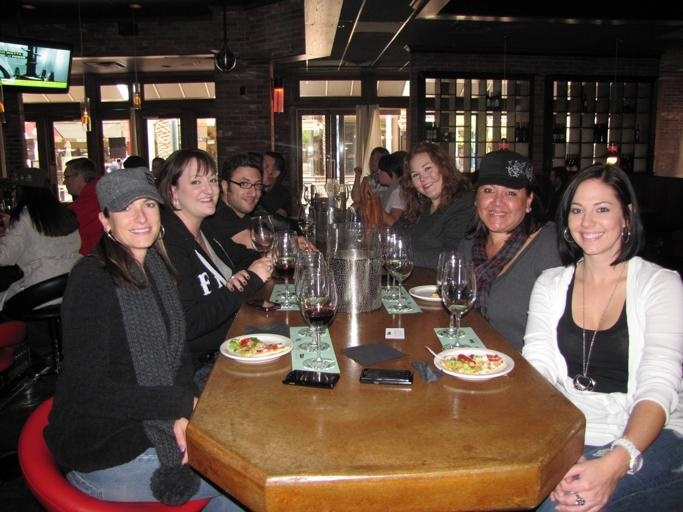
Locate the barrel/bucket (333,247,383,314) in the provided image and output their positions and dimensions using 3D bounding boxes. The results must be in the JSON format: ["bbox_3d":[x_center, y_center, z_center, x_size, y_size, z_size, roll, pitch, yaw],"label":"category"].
[{"bbox_3d":[0.057,0.095,2.161,0.239,0.257,0.243,-2,8,0],"label":"barrel/bucket"}]

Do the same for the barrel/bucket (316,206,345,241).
[{"bbox_3d":[-0.079,-0.188,3.188,0.225,0.240,0.219,1,2,0],"label":"barrel/bucket"}]

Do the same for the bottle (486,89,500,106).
[{"bbox_3d":[2.472,-2.533,8.589,0.247,0.271,0.047,-3,11,-14],"label":"bottle"}]

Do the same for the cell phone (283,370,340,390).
[{"bbox_3d":[-0.091,0.377,1.600,0.201,0.019,0.116,-2,5,24],"label":"cell phone"}]

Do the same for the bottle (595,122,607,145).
[{"bbox_3d":[4.374,-2.069,8.924,0.234,0.332,0.051,-3,11,-10],"label":"bottle"}]

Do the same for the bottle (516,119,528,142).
[{"bbox_3d":[2.965,-2.032,8.661,0.214,0.344,0.077,3,12,17],"label":"bottle"}]

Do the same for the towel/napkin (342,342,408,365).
[{"bbox_3d":[0.111,0.329,1.764,0.182,0.013,0.135,-11,11,-38],"label":"towel/napkin"}]

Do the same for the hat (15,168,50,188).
[{"bbox_3d":[-2.242,-0.561,3.818,0.192,0.106,0.141,-2,8,-26],"label":"hat"}]

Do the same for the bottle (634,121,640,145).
[{"bbox_3d":[5.030,-2.079,8.991,0.112,0.322,0.027,-2,11,-7],"label":"bottle"}]

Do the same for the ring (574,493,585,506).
[{"bbox_3d":[0.713,0.728,1.579,0.026,0.033,0.012,-21,-26,2],"label":"ring"}]

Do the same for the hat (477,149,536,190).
[{"bbox_3d":[0.762,-0.394,2.465,0.182,0.136,0.248,5,5,22],"label":"hat"}]

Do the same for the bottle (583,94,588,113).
[{"bbox_3d":[4.085,-2.545,8.836,0.121,0.250,0.032,-4,12,-18],"label":"bottle"}]

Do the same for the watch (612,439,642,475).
[{"bbox_3d":[0.904,0.617,1.657,0.098,0.105,0.053,-2,0,20],"label":"watch"}]

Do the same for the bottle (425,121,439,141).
[{"bbox_3d":[1.455,-1.995,8.461,0.221,0.320,0.138,0,11,4],"label":"bottle"}]

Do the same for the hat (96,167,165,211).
[{"bbox_3d":[-0.811,-0.254,2.020,0.242,0.156,0.313,-17,17,-28],"label":"hat"}]
